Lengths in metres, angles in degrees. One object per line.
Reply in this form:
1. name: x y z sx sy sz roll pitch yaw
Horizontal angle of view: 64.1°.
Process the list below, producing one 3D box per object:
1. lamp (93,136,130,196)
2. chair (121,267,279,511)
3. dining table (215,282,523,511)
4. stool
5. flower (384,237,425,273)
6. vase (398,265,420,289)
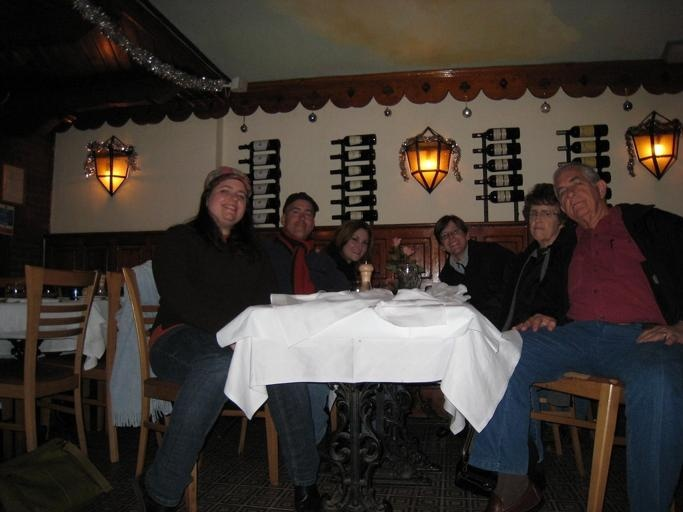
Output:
1. lamp: -3.185 -1.271 7.607 0.526 0.808 0.257 0 2 13
2. chair: -0.867 0.891 4.393 1.253 2.376 1.198 -1 -3 18
3. dining table: 0.147 0.845 3.151 1.165 0.688 1.242 2 1 10
4. stool: 1.518 0.934 3.541 0.699 0.989 0.966 10 -8 -16
5. flower: 0.558 0.019 4.657 0.173 0.189 0.133 -20 16 -34
6. vase: 0.490 0.148 3.895 0.146 0.222 0.147 -1 0 28
